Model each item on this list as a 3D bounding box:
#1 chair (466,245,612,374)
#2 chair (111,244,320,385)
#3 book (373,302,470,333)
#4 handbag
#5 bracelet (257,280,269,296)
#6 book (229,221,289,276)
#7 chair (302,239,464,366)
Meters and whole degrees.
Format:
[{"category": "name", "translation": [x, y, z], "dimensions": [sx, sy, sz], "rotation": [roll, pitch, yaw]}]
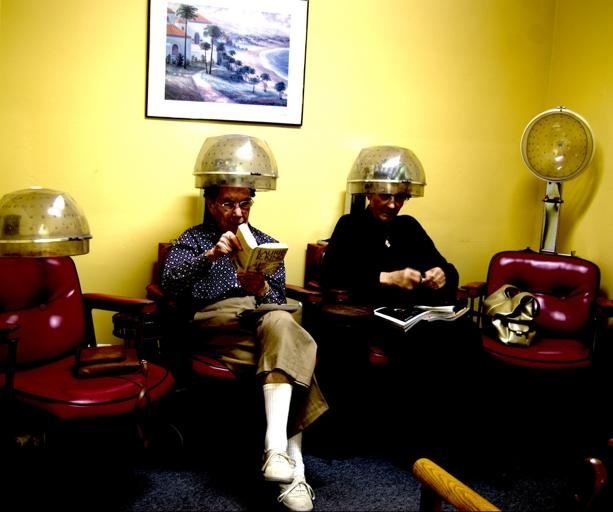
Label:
[{"category": "chair", "translation": [1.212, 0.266, 2.914], "dimensions": [0.800, 0.599, 0.636], "rotation": [4, 5, 22]}, {"category": "chair", "translation": [-0.487, 0.232, 2.746], "dimensions": [0.795, 0.797, 0.783], "rotation": [3, -3, -35]}, {"category": "book", "translation": [0.575, 0.288, 2.660], "dimensions": [0.463, 0.082, 0.254], "rotation": [-2, 17, -18]}, {"category": "handbag", "translation": [1.078, 0.319, 2.805], "dimensions": [0.248, 0.260, 0.303], "rotation": [12, -14, -9]}, {"category": "bracelet", "translation": [-0.183, 0.151, 2.493], "dimensions": [0.062, 0.069, 0.075], "rotation": [0, -12, 4]}, {"category": "book", "translation": [-0.201, 0.007, 2.190], "dimensions": [0.254, 0.087, 0.206], "rotation": [11, -40, -9]}, {"category": "chair", "translation": [0.389, 0.220, 2.933], "dimensions": [0.693, 0.697, 0.645], "rotation": [1, -1, -27]}]
